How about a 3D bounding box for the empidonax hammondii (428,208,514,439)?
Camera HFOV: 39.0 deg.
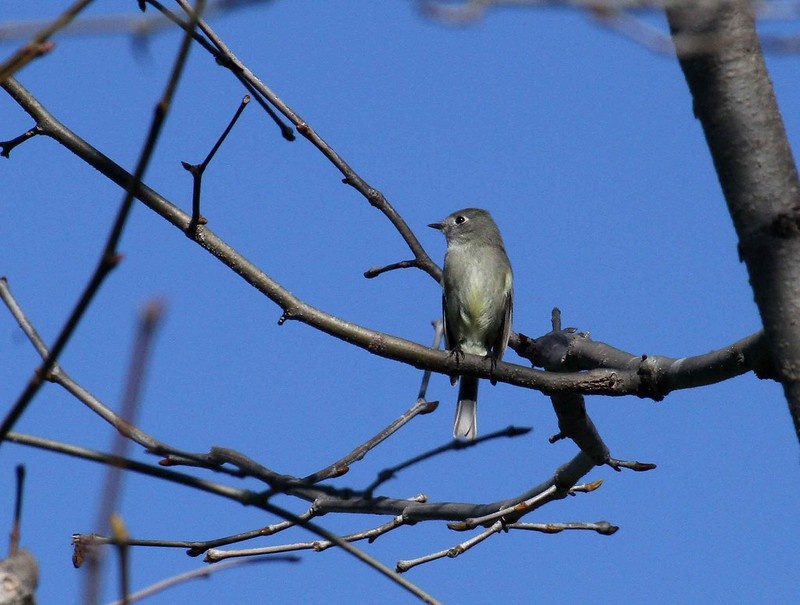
[{"bbox_3d":[0.519,0.071,7.224,0.432,1.618,0.785,0,28,3],"label":"empidonax hammondii"}]
